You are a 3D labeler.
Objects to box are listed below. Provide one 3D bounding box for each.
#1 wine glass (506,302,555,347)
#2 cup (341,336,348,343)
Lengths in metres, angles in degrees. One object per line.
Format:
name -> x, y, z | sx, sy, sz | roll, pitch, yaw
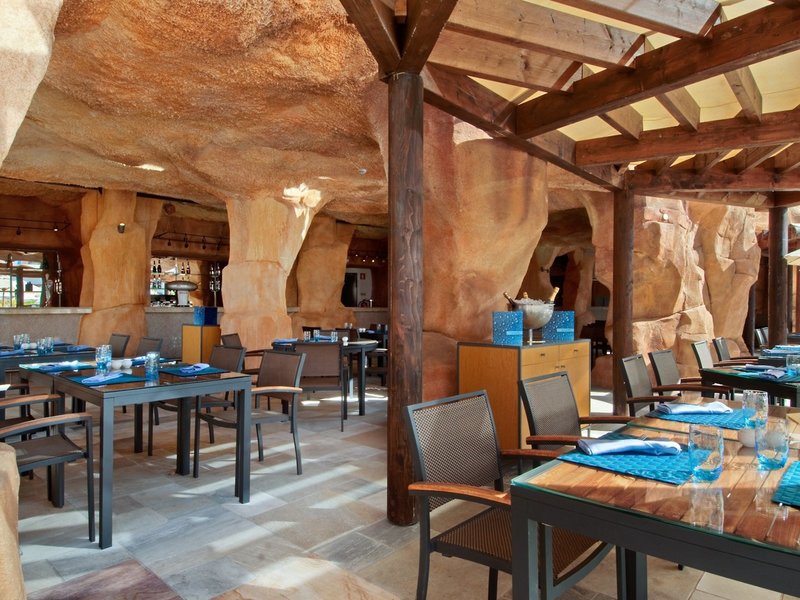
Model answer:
wine glass -> 1.158, 0.185, 5.128 | 0.427, 0.381, 0.383 | -1, -3, 1
cup -> -0.682, 0.486, 7.161 | 0.064, 0.051, 0.101 | -1, -5, -6
